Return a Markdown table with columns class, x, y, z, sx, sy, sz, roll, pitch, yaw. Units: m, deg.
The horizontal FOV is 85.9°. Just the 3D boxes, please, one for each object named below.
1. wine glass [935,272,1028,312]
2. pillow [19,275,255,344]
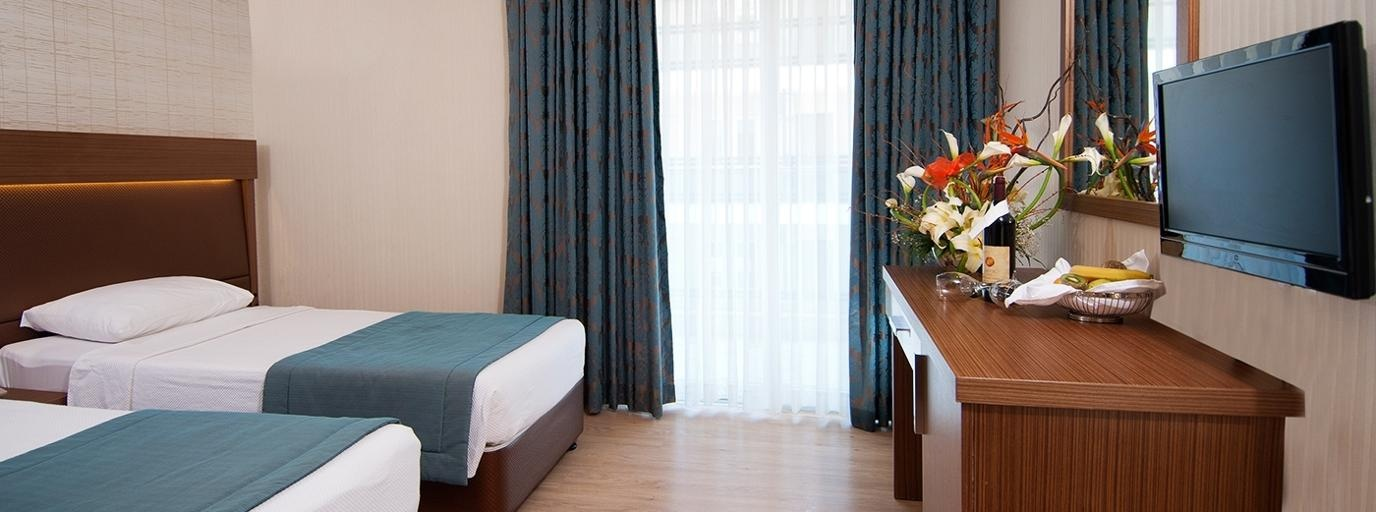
| class | x | y | z | sx | sy | sz | roll | pitch | yaw |
| --- | --- | --- | --- | --- | --- | --- | --- | --- | --- |
| wine glass | 2.188 | 0.260 | 5.511 | 0.638 | 0.163 | 0.242 | 1 | 10 | 27 |
| pillow | -5.068 | 0.471 | 6.646 | 0.909 | 0.227 | 1.013 | 2 | 8 | 21 |
